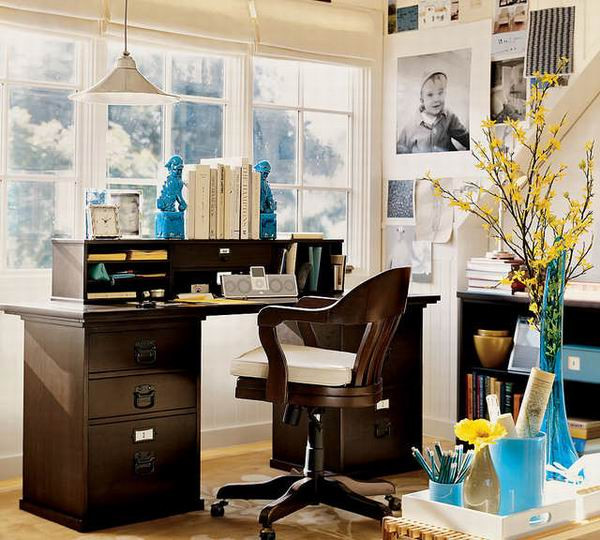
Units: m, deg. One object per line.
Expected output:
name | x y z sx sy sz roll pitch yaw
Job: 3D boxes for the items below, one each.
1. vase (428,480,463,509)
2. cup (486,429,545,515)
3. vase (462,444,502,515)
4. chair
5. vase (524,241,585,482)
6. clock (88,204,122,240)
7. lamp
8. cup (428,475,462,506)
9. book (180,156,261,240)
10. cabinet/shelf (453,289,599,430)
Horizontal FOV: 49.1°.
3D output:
vase | 0.316 0.481 1.421 0.052 0.042 0.051 -1 0 0
cup | 0.502 0.426 1.477 0.131 0.238 0.151 -2 -1 22
vase | 0.387 0.443 1.398 0.073 0.139 0.041 0 1 18
chair | 0.050 0.468 2.795 0.830 1.212 0.918 2 1 20
vase | 0.627 0.220 1.619 0.101 0.530 0.145 1 1 33
clock | -0.821 -0.198 2.738 0.121 0.141 0.131 0 -3 -35
lamp | -0.658 -0.757 2.651 0.404 0.505 0.402 1 1 20
cup | 0.317 0.476 1.421 0.052 0.044 0.051 -1 0 0
book | -0.365 -0.322 3.115 0.383 0.403 0.335 -3 8 -37
cabinet/shelf | 0.967 0.368 2.741 0.705 0.718 0.258 -1 -2 35
